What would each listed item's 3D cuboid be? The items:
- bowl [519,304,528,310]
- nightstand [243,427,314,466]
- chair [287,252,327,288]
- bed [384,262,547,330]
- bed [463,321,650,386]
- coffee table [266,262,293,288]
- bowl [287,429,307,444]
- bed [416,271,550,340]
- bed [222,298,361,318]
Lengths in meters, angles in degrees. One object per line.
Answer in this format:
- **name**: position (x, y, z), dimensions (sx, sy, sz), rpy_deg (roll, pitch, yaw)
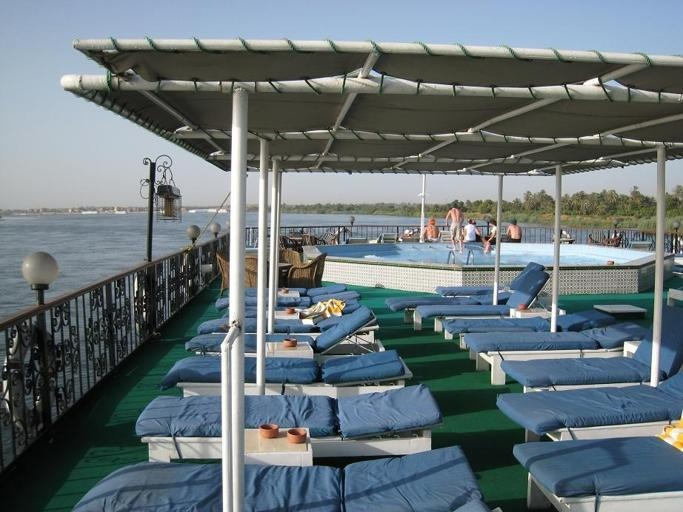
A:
- **bowl**: position (2.721, 0.758, 8.348), dimensions (0.102, 0.073, 0.093), rpy_deg (-1, 3, 0)
- **nightstand**: position (-0.478, 1.502, 4.605), dimensions (0.658, 0.241, 0.601), rpy_deg (3, 2, -9)
- **chair**: position (-0.734, 0.326, 11.881), dimensions (0.877, 0.629, 0.685), rpy_deg (1, 4, 4)
- **bed**: position (1.995, 0.630, 8.776), dimensions (2.246, 0.797, 1.188), rpy_deg (0, 1, 2)
- **bed**: position (2.593, 1.121, 6.852), dimensions (1.808, 0.455, 0.862), rpy_deg (-1, 1, -3)
- **coffee table**: position (-1.302, 0.399, 11.885), dimensions (0.534, 0.476, 0.480), rpy_deg (0, 3, -8)
- **bowl**: position (-0.357, 1.442, 4.455), dimensions (0.115, 0.042, 0.118), rpy_deg (0, 3, 0)
- **bed**: position (2.163, 0.688, 8.633), dimensions (1.950, 0.833, 0.980), rpy_deg (0, 0, 0)
- **bed**: position (-0.742, 0.767, 8.731), dimensions (1.283, 0.250, 0.706), rpy_deg (1, 2, -3)
